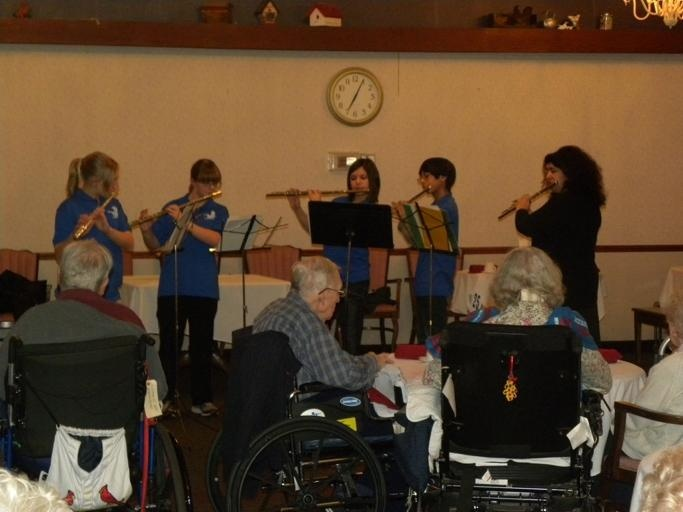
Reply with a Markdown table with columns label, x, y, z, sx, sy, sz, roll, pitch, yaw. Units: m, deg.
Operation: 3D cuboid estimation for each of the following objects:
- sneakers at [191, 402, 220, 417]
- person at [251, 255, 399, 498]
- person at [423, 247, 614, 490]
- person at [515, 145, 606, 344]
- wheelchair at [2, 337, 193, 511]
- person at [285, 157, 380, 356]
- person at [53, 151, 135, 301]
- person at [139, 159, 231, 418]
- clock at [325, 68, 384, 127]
| label | x | y | z | sx | sy | sz | roll | pitch | yaw |
| --- | --- | --- | --- | --- | --- | --- | --- | --- | --- |
| sneakers | -0.956 | 1.075 | 6.349 | 0.168 | 0.078 | 0.089 | -1 | -3 | 39 |
| person | -0.123 | 0.535 | 4.901 | 0.637 | 1.090 | 0.732 | -8 | 15 | -36 |
| person | 0.979 | 0.623 | 4.655 | 0.677 | 1.264 | 0.665 | 3 | 5 | 6 |
| person | 1.427 | 0.206 | 5.862 | 0.553 | 1.797 | 0.595 | 3 | -4 | 8 |
| wheelchair | -1.164 | 0.698 | 4.298 | 0.704 | 0.972 | 0.683 | 1 | 6 | -27 |
| person | 0.000 | 0.054 | 6.350 | 0.466 | 1.515 | 0.541 | -3 | 8 | -41 |
| person | -1.592 | -0.308 | 5.794 | 0.417 | 1.267 | 0.483 | -1 | 8 | -27 |
| person | -1.123 | 0.195 | 6.218 | 0.625 | 1.691 | 0.495 | 0 | 9 | -18 |
| clock | 0.123 | -1.478 | 8.373 | 0.516 | 0.567 | 0.086 | -2 | -6 | 0 |
